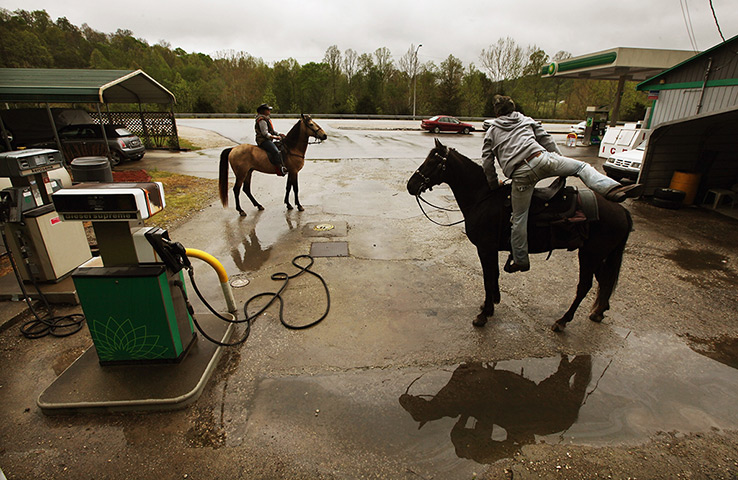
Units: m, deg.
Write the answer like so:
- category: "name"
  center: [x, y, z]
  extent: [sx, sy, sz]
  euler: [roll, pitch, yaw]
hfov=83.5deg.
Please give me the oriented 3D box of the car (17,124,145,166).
- category: "car"
  center: [-10.525, -3.760, 16.375]
  extent: [2.905, 1.624, 1.477]
  euler: [-11, 19, -25]

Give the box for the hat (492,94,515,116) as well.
- category: "hat"
  center: [2.147, -2.152, 6.614]
  extent: [0.305, 0.366, 0.365]
  euler: [1, 26, 2]

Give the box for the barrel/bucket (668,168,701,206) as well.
- category: "barrel/bucket"
  center: [8.754, -1.433, 11.509]
  extent: [0.651, 0.908, 0.391]
  euler: [9, 22, 34]

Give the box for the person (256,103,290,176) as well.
- category: "person"
  center: [-2.618, -2.632, 11.128]
  extent: [0.707, 1.945, 1.243]
  euler: [-8, 18, -13]

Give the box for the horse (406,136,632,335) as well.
- category: "horse"
  center: [2.554, 0.078, 7.258]
  extent: [4.358, 3.527, 1.863]
  euler: [3, 36, 18]

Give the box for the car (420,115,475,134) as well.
- category: "car"
  center: [5.800, -8.524, 30.799]
  extent: [3.814, 1.110, 1.565]
  euler: [-3, 23, -3]

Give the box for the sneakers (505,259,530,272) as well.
- category: "sneakers"
  center: [2.365, 0.388, 6.615]
  extent: [0.376, 0.227, 0.188]
  euler: [7, 43, 9]

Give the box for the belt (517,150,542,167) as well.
- category: "belt"
  center: [2.412, -1.219, 6.198]
  extent: [0.239, 0.076, 0.250]
  euler: [-38, -4, -12]
